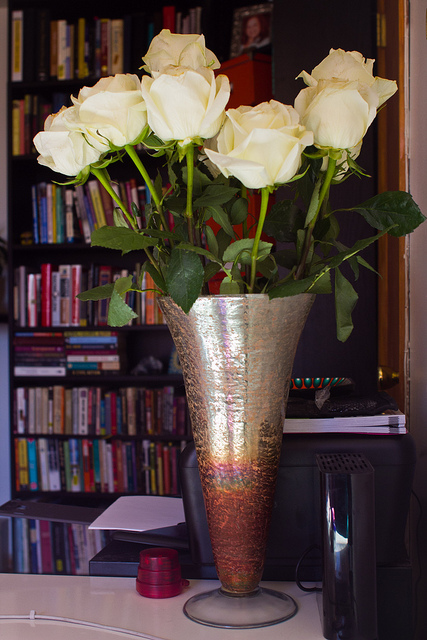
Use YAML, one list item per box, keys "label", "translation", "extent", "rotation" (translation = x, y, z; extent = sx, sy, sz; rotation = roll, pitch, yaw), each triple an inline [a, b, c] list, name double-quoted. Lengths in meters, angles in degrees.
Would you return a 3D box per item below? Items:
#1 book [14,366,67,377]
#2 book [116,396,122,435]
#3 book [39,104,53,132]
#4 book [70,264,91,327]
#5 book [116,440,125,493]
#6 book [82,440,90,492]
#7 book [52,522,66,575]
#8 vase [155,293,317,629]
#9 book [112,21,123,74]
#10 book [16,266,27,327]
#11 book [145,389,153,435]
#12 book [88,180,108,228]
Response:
- label: "book"
  translation: [-0.661, 0.197, 2.366]
  extent: [0.207, 0.045, 0.012]
  rotation: [-5, 1, 5]
- label: "book"
  translation: [-0.359, 0.364, 2.367]
  extent: [0.027, 0.144, 0.009]
  rotation: [-5, 1, -11]
- label: "book"
  translation: [-0.655, -0.804, 2.417]
  extent: [0.059, 0.111, 0.092]
  rotation: [-5, 1, -13]
- label: "book"
  translation: [-0.502, -0.100, 2.451]
  extent: [0.086, 0.232, 0.242]
  rotation: [6, 3, -6]
- label: "book"
  translation: [-0.356, 0.562, 2.365]
  extent: [0.029, 0.197, 0.020]
  rotation: [-5, 1, -4]
- label: "book"
  translation: [-0.489, 0.563, 2.379]
  extent: [0.029, 0.201, 0.015]
  rotation: [-5, 1, -6]
- label: "book"
  translation: [-0.199, 0.299, 0.794]
  extent: [0.006, 0.060, 0.040]
  rotation: [-5, -6, -9]
- label: "vase"
  translation: [0.030, 0.139, 0.610]
  extent: [0.171, 0.313, 0.163]
  rotation: [-1, -1, -41]
- label: "book"
  translation: [-0.359, -1.022, 2.318]
  extent: [0.054, 0.193, 0.030]
  rotation: [-5, 1, -9]
- label: "book"
  translation: [-0.745, -0.092, 2.406]
  extent: [0.047, 0.242, 0.022]
  rotation: [-5, 1, -16]
- label: "book"
  translation: [-0.246, 0.353, 2.358]
  extent: [0.031, 0.166, 0.019]
  rotation: [-5, 1, 2]
- label: "book"
  translation: [-0.454, -0.457, 2.402]
  extent: [0.058, 0.186, 0.096]
  rotation: [-5, 1, -18]
